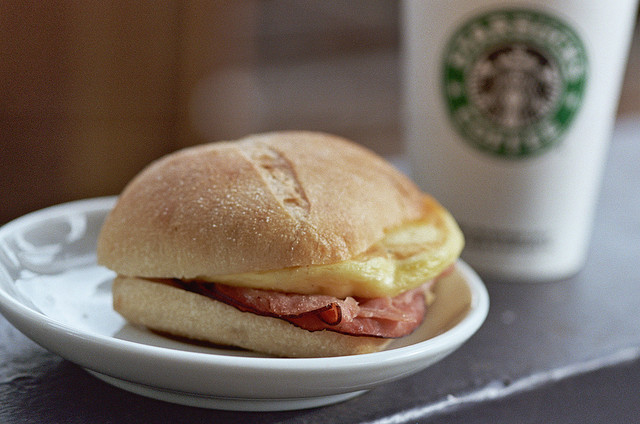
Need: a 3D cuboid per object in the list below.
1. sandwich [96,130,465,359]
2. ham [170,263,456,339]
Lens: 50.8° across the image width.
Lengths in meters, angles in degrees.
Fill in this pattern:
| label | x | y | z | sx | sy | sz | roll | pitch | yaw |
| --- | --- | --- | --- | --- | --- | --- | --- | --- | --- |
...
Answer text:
| label | x | y | z | sx | sy | sz | roll | pitch | yaw |
| --- | --- | --- | --- | --- | --- | --- | --- | --- | --- |
| sandwich | -0.048 | 0.039 | 0.833 | 0.308 | 0.173 | 0.311 | 5 | 7 | 30 |
| ham | -0.017 | 0.102 | 0.792 | 0.236 | 0.086 | 0.162 | 4 | 16 | 29 |
